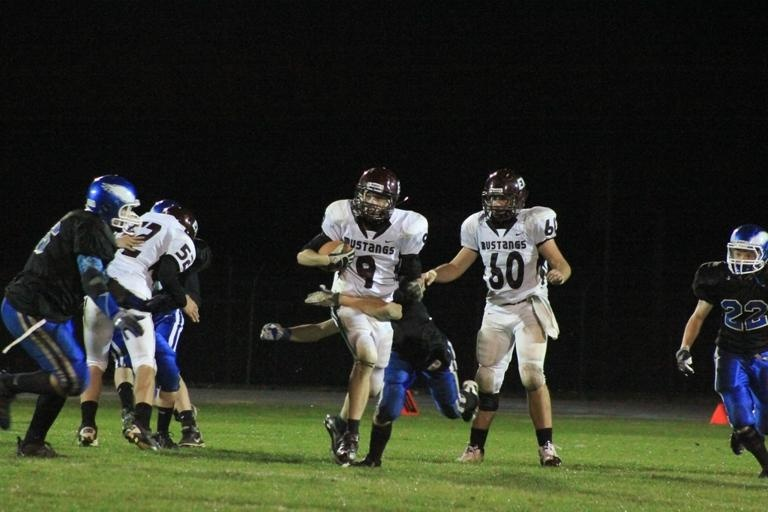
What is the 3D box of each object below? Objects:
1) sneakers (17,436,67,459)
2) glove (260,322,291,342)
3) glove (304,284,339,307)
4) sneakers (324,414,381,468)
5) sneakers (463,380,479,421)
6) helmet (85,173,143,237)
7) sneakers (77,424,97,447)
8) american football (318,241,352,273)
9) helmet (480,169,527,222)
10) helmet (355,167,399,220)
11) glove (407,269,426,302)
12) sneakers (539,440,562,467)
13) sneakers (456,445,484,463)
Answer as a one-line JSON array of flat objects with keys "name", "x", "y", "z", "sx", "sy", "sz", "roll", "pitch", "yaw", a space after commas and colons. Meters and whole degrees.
[{"name": "sneakers", "x": -3.291, "y": 1.875, "z": 7.717, "sx": 0.501, "sy": 0.197, "sz": 0.173, "roll": 5, "pitch": 0, "yaw": -7}, {"name": "glove", "x": -1.170, "y": 0.809, "z": 8.623, "sx": 0.281, "sy": 0.201, "sz": 1.067, "roll": 2, "pitch": -8, "yaw": -8}, {"name": "glove", "x": -0.659, "y": 0.446, "z": 8.087, "sx": 0.283, "sy": 0.115, "sz": 0.282, "roll": 7, "pitch": 18, "yaw": 28}, {"name": "sneakers", "x": -0.369, "y": 1.889, "z": 8.094, "sx": 0.223, "sy": 0.649, "sz": 0.289, "roll": 14, "pitch": -52, "yaw": -45}, {"name": "sneakers", "x": 0.923, "y": 1.555, "z": 8.412, "sx": 0.167, "sy": 0.428, "sz": 0.193, "roll": 0, "pitch": 10, "yaw": 7}, {"name": "helmet", "x": -2.671, "y": -0.552, "z": 8.040, "sx": 0.626, "sy": 0.572, "sz": 0.465, "roll": 4, "pitch": 7, "yaw": -27}, {"name": "sneakers", "x": -3.128, "y": 1.921, "z": 8.403, "sx": 0.179, "sy": 0.220, "sz": 0.226, "roll": 1, "pitch": -4, "yaw": -8}, {"name": "american football", "x": -0.459, "y": -0.025, "z": 8.181, "sx": 0.328, "sy": 0.241, "sz": 0.295, "roll": -21, "pitch": -36, "yaw": -1}, {"name": "helmet", "x": 1.374, "y": -0.684, "z": 8.907, "sx": 0.468, "sy": 0.476, "sz": 0.612, "roll": 4, "pitch": 10, "yaw": 30}, {"name": "helmet", "x": -0.009, "y": -0.682, "z": 8.334, "sx": 0.429, "sy": 0.466, "sz": 0.562, "roll": 23, "pitch": 18, "yaw": 0}, {"name": "glove", "x": 0.339, "y": 0.307, "z": 8.178, "sx": 0.228, "sy": 0.248, "sz": 0.195, "roll": 1, "pitch": 35, "yaw": 0}, {"name": "sneakers", "x": 1.751, "y": 2.113, "z": 8.352, "sx": 0.158, "sy": 0.163, "sz": 0.352, "roll": -9, "pitch": -16, "yaw": -1}, {"name": "sneakers", "x": 0.940, "y": 2.164, "z": 8.590, "sx": 0.119, "sy": 0.132, "sz": 0.331, "roll": -2, "pitch": -14, "yaw": 45}]
